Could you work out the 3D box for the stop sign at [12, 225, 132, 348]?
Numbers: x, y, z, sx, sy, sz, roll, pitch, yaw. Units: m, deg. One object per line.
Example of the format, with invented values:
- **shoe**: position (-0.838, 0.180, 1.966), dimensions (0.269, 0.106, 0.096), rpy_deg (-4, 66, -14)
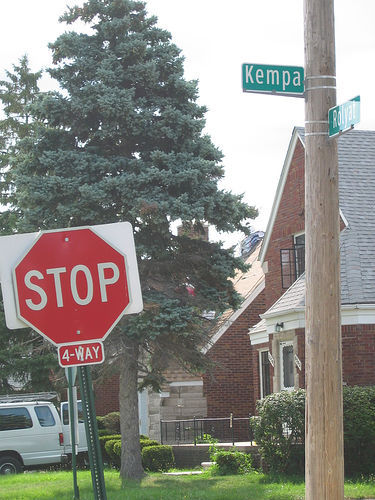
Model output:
- **stop sign**: position (-1.118, 0.350, 11.260), dimensions (1.137, 1.141, 0.118), rpy_deg (-3, -5, -1)
